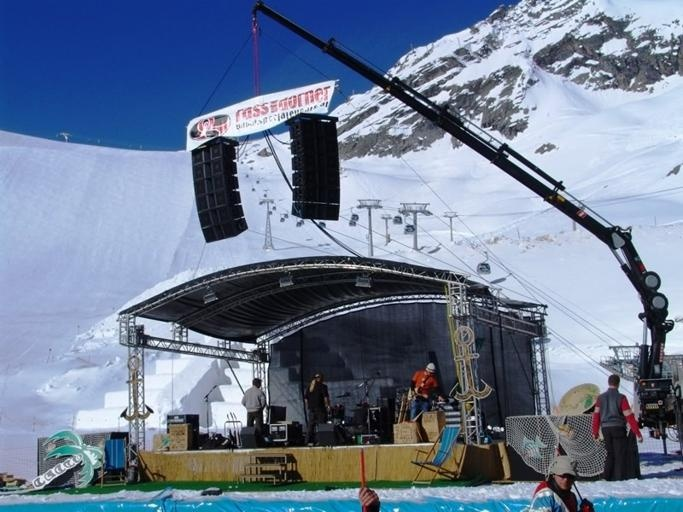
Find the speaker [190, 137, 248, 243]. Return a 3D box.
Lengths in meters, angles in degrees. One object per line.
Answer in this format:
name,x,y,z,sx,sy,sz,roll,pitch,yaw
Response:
speaker,-3.925,-2.115,25.381,1.579,3.238,0.649,-9,-16,18

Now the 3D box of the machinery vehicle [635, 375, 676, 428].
machinery vehicle,9.042,4.189,22.952,0.940,0.837,1.416,-5,-20,15

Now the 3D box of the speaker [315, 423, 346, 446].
speaker,-0.363,5.561,24.576,0.724,0.549,0.729,-2,-9,19

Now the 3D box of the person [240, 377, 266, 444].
person,-2.790,5.042,25.958,0.684,2.138,0.627,5,15,13

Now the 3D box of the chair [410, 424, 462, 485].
chair,2.709,5.715,22.815,1.416,1.490,1.117,-5,-15,2

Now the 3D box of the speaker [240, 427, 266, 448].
speaker,-2.755,5.700,25.219,0.579,0.700,1.013,-2,-5,35
